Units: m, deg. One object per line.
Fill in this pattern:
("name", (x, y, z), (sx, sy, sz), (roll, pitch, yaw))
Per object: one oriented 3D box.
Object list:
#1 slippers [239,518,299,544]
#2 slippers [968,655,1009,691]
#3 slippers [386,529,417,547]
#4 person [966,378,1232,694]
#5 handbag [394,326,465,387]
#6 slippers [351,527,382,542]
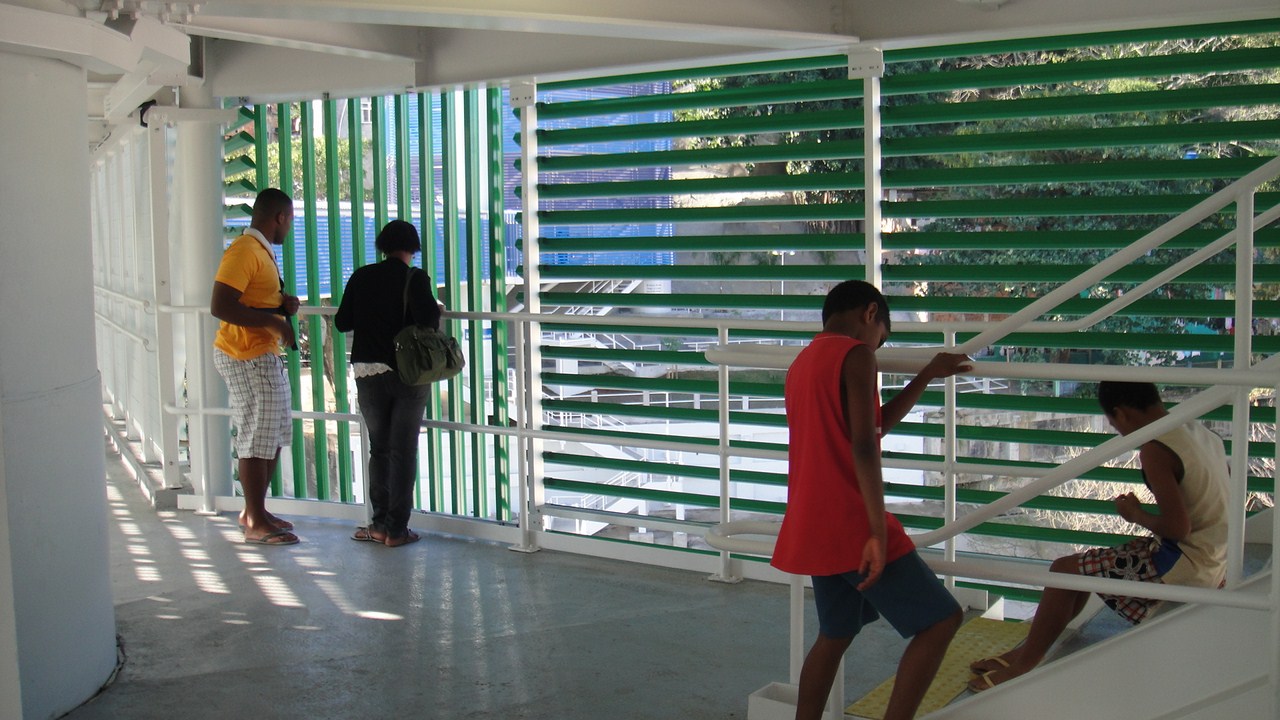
("slippers", (-3.045, 1.401, 7.923), (0.458, 0.157, 0.172), (-1, -4, 7))
("slippers", (1.939, 1.703, 5.308), (0.243, 0.049, 0.170), (-4, 7, 24))
("slippers", (-1.929, 1.420, 7.776), (0.102, 0.088, 0.245), (7, 12, 33))
("person", (2.512, 0.912, 5.119), (1.092, 1.635, 0.585), (3, 17, 17))
("handbag", (-1.641, -0.040, 7.354), (0.313, 0.474, 0.606), (-2, 0, 37))
("slippers", (-2.228, 1.397, 7.839), (0.285, 0.100, 0.109), (6, 4, 24))
